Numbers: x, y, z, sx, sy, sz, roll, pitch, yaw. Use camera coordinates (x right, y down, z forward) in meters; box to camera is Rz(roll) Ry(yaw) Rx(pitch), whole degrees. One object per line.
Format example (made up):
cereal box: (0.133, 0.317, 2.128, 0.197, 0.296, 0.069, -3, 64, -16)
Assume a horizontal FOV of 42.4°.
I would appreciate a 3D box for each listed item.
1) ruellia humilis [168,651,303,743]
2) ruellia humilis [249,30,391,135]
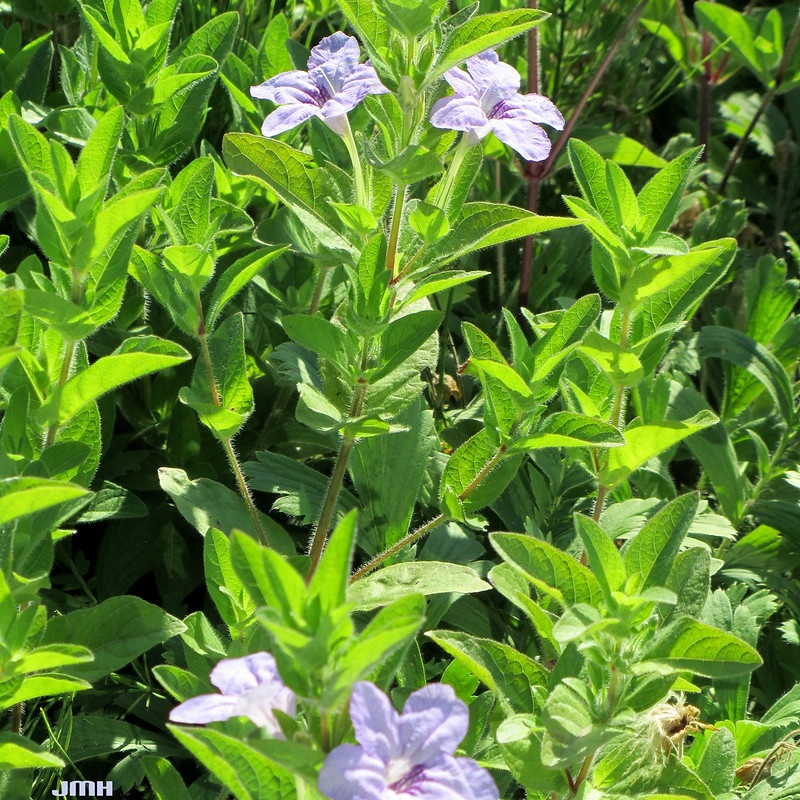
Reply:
ruellia humilis: (-0.170, 0.308, 1.074, 0.142, 0.117, 0.076, 3, 56, -15)
ruellia humilis: (-0.093, -0.406, 1.322, 0.202, 0.077, 0.162, -11, 53, 18)
